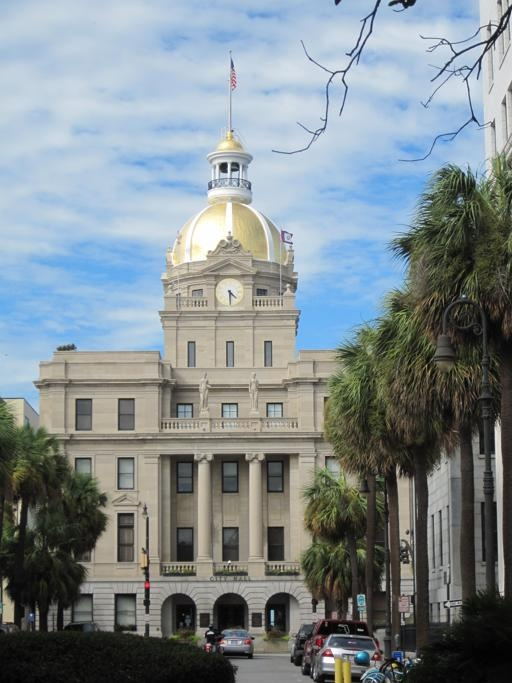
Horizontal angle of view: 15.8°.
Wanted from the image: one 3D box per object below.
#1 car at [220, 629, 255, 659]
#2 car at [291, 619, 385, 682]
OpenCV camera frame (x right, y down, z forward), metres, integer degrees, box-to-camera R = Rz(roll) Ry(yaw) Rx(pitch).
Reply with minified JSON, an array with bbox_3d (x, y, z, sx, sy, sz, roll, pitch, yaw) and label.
[{"bbox_3d":[-0.876,12.968,79.170,0.913,0.844,2.287,0,-2,1],"label":"car"},{"bbox_3d":[2.513,9.602,58.296,1.544,1.918,3.825,1,-10,-1],"label":"car"}]
